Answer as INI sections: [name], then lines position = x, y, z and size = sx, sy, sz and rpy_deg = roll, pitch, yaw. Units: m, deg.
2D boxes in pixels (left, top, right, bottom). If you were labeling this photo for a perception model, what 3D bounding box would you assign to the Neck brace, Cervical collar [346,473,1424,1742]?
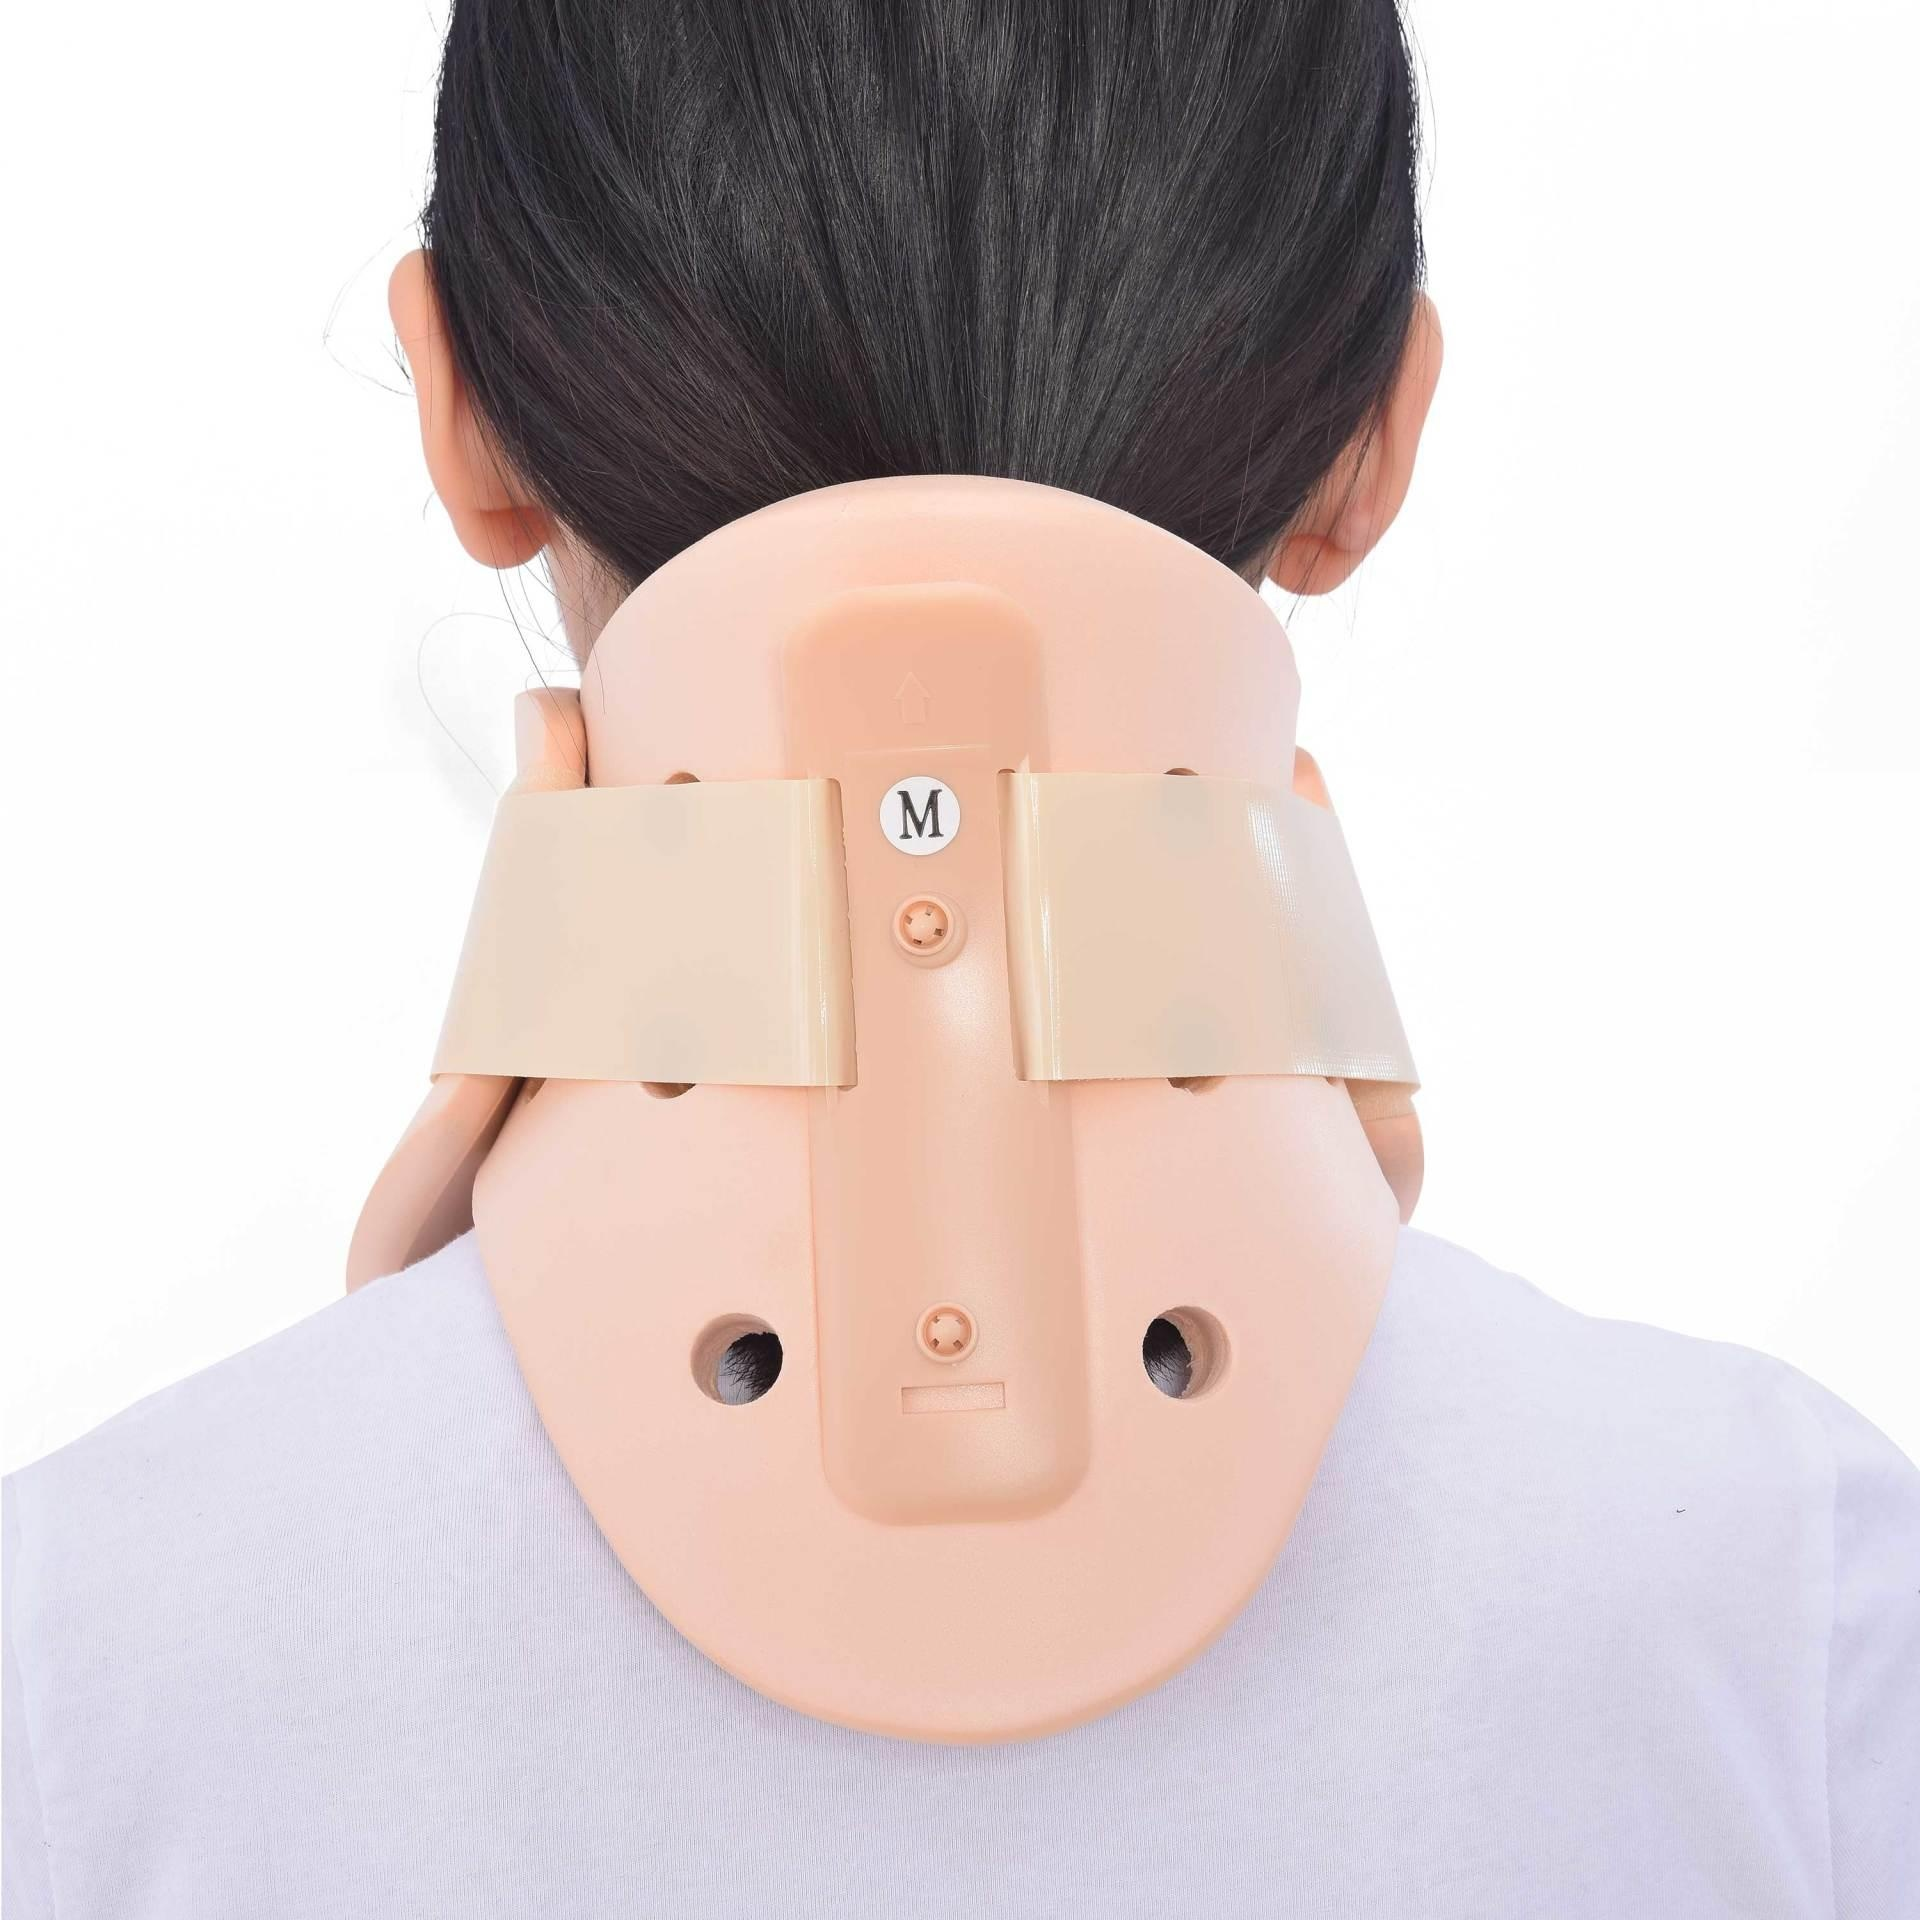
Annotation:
[Neck brace, Cervical collar]
position = -0.019, 0.031, 0.805
size = 0.350, 0.439, 0.151
rpy_deg = 0, -5, -3
